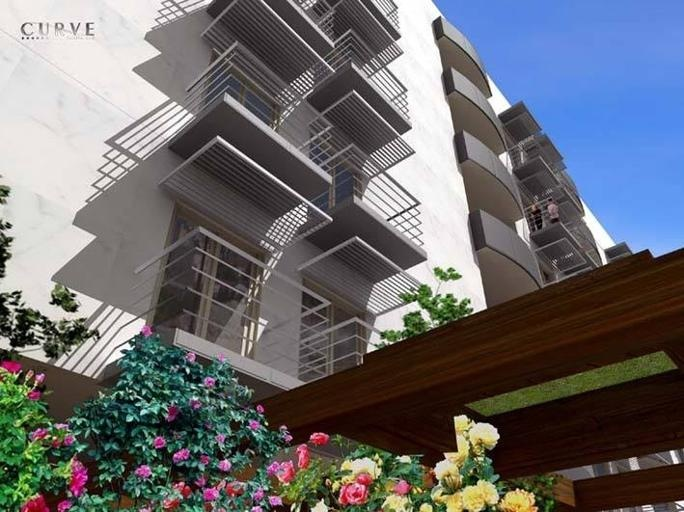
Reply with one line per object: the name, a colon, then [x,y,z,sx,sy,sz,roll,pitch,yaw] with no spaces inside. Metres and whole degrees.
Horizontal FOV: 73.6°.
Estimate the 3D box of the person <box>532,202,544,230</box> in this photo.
person: [9.808,-2.015,22.973,0.448,1.799,0.269,-2,-45,21]
